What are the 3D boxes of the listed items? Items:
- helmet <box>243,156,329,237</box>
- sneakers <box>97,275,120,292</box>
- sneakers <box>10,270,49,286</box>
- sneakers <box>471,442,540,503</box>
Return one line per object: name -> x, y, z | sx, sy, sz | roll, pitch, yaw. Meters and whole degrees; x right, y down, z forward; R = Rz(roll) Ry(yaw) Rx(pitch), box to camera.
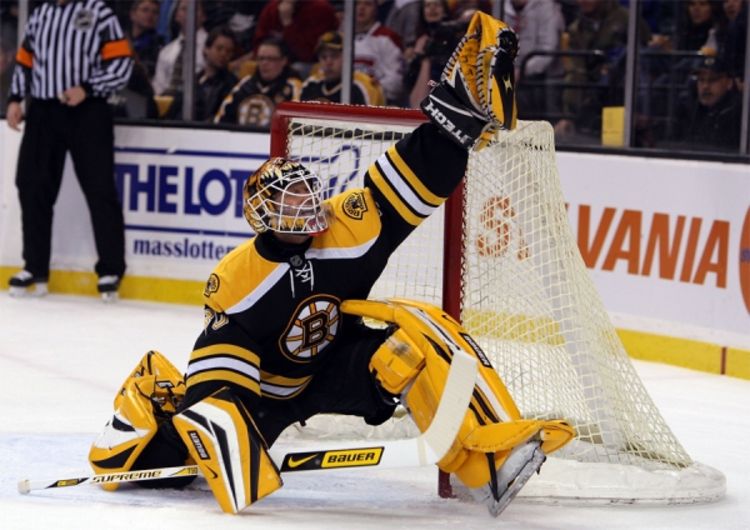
helmet -> -0.347, -0.248, 3.988 | 0.312, 0.274, 0.260 | -16, -1, 44
sneakers -> -1.893, 0.130, 7.170 | 0.158, 0.116, 0.108 | -6, 6, -44
sneakers -> -2.501, 0.101, 7.276 | 0.203, 0.073, 0.118 | 2, 0, -41
sneakers -> 0.462, 0.746, 3.659 | 0.062, 0.267, 0.144 | 41, -5, 9
